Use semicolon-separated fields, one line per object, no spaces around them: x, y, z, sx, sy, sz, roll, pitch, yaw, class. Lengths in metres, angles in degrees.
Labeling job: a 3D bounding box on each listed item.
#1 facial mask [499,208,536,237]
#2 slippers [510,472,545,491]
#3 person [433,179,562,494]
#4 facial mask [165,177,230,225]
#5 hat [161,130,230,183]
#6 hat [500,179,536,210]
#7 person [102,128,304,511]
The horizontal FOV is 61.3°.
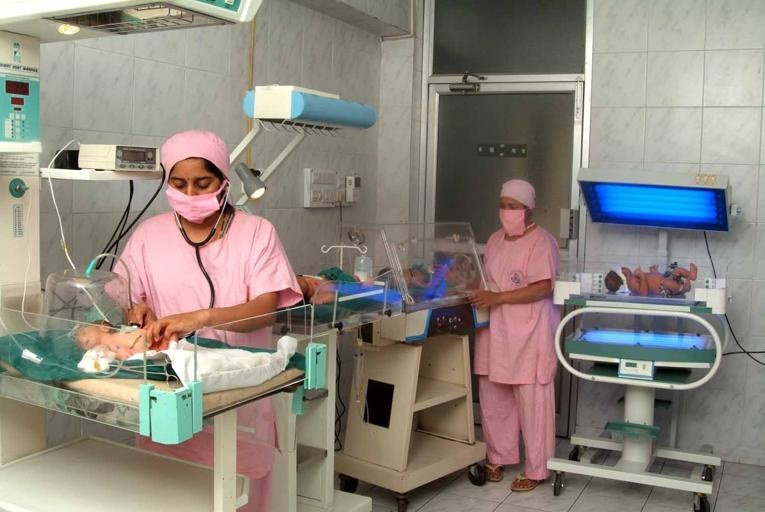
0.784;-0.192;3.812;0.171;0.175;0.172;3;8;19;facial mask
0.848;1.330;3.791;0.192;0.057;0.073;2;-3;-27;slippers
0.775;0.462;3.804;0.505;1.791;0.411;3;8;15;person
-0.684;-0.193;2.355;0.208;0.155;0.112;2;8;11;facial mask
-0.667;-0.351;2.376;0.178;0.135;0.183;2;-10;-13;hat
0.809;-0.363;3.855;0.165;0.165;0.215;15;10;26;hat
-0.611;0.301;2.233;0.679;1.464;0.735;-1;8;-12;person
